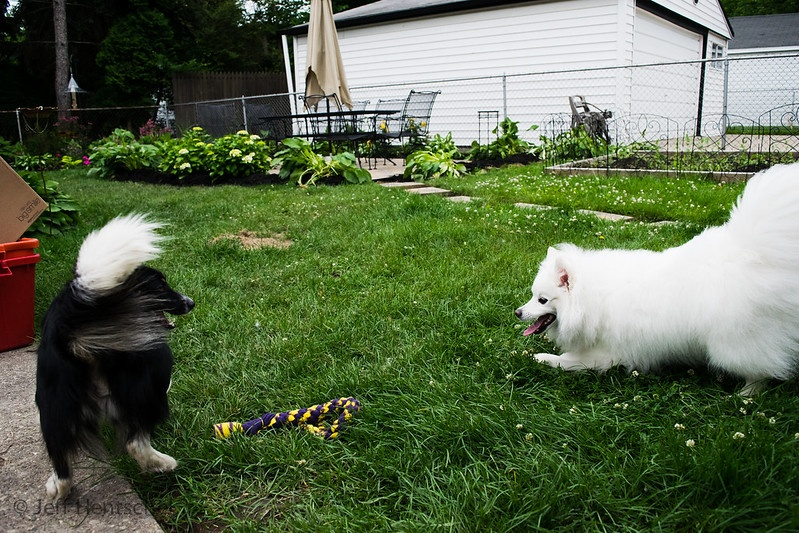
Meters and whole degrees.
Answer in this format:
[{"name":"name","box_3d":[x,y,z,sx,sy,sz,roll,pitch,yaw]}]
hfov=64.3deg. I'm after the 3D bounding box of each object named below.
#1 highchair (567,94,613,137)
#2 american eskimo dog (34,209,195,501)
[{"name":"highchair","box_3d":[3.785,-2.943,12.491,0.716,0.932,2.913,4,13,17]},{"name":"american eskimo dog","box_3d":[-1.599,0.501,3.414,0.702,1.547,0.240,-2,12,-10]}]
